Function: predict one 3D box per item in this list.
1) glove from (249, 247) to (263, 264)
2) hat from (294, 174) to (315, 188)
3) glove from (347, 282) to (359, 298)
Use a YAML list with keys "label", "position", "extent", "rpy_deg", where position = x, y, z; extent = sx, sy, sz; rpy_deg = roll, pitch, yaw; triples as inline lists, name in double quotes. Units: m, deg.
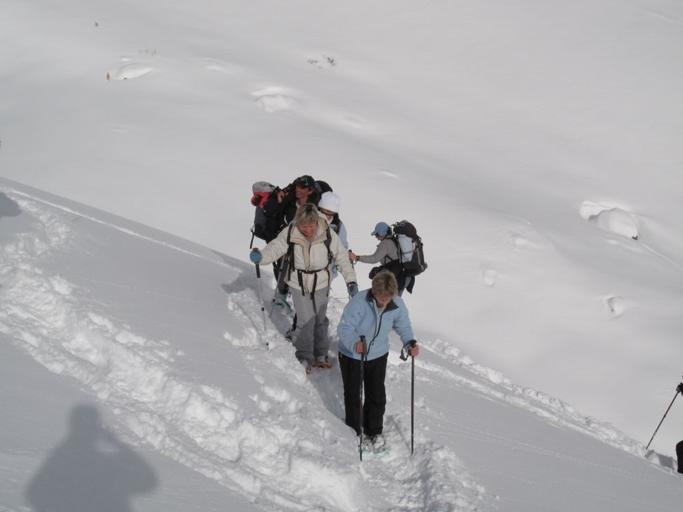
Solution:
- label: "glove"
  position: [-3.092, -0.014, 29.977]
  extent: [0.347, 0.539, 0.515]
  rpy_deg: [6, 4, 18]
- label: "hat"
  position: [-1.307, -2.792, 30.952]
  extent: [0.601, 0.336, 0.426]
  rpy_deg: [3, 12, -41]
- label: "glove"
  position: [0.410, 1.227, 30.167]
  extent: [0.379, 0.533, 0.501]
  rpy_deg: [-2, -12, -6]
